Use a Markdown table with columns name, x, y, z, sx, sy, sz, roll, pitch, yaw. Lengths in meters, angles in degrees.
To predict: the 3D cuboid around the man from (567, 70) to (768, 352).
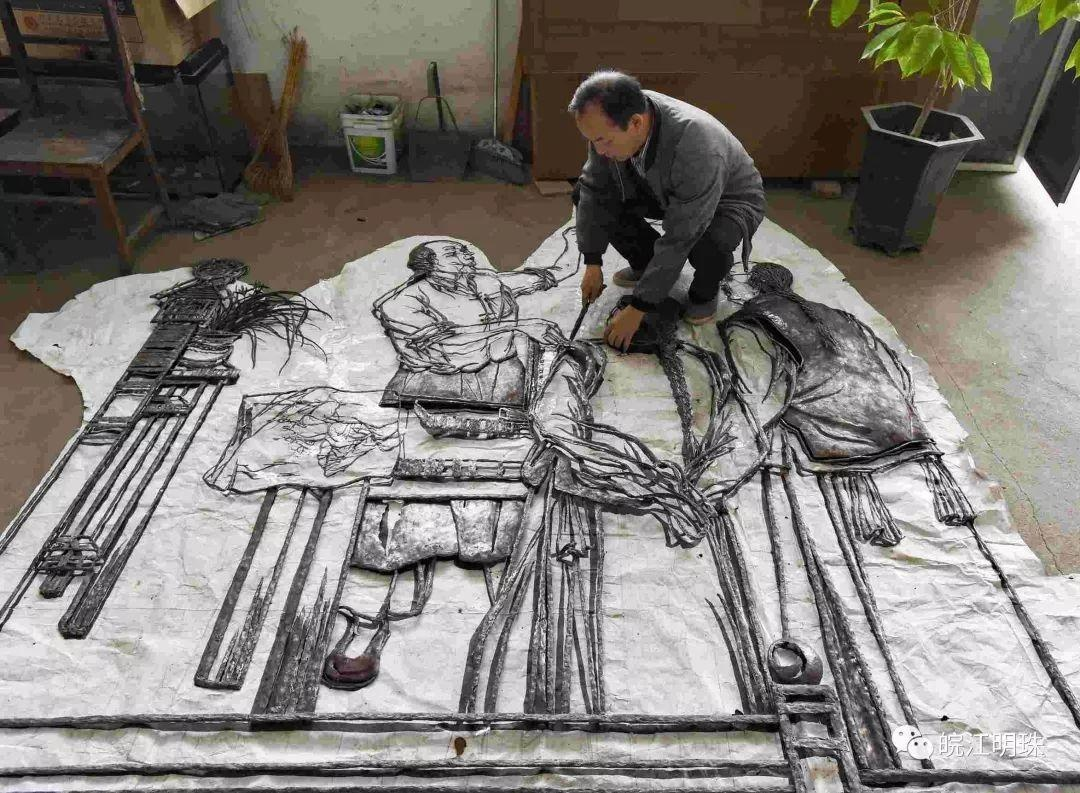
| name | x | y | z | sx | sy | sz | roll | pitch | yaw |
| --- | --- | --- | --- | --- | --- | --- | --- | --- | --- |
| man | 0.774 | -1.123 | 4.205 | 1.135 | 1.354 | 0.953 | -2 | 37 | 2 |

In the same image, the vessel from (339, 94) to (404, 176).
| name | x | y | z | sx | sy | sz | roll | pitch | yaw |
| --- | --- | --- | --- | --- | --- | --- | --- | --- | --- |
| vessel | -1.223 | -1.914 | 5.507 | 0.422 | 0.442 | 0.469 | -5 | 44 | -7 |

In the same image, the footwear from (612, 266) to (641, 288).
| name | x | y | z | sx | sy | sz | roll | pitch | yaw |
| --- | --- | --- | --- | --- | --- | --- | --- | --- | --- |
| footwear | 0.528 | -0.722 | 4.585 | 0.249 | 0.096 | 0.092 | -1 | 59 | 0 |
